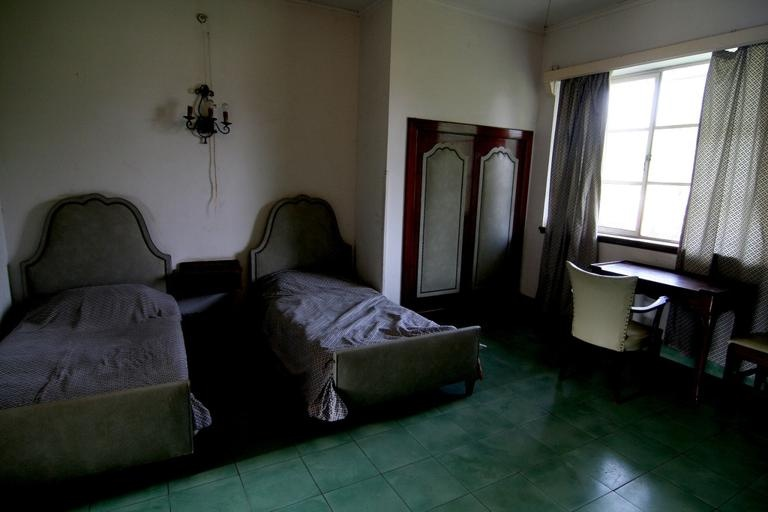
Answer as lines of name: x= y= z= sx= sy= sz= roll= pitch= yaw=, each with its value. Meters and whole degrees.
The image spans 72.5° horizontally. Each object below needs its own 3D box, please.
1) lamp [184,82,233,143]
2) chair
lamp: x=-1.766 y=-1.457 z=5.222 sx=0.293 sy=0.699 sz=0.550 roll=8 pitch=11 yaw=44
chair: x=2.112 y=0.581 z=4.895 sx=0.809 sy=1.088 sz=0.845 roll=11 pitch=17 yaw=35
